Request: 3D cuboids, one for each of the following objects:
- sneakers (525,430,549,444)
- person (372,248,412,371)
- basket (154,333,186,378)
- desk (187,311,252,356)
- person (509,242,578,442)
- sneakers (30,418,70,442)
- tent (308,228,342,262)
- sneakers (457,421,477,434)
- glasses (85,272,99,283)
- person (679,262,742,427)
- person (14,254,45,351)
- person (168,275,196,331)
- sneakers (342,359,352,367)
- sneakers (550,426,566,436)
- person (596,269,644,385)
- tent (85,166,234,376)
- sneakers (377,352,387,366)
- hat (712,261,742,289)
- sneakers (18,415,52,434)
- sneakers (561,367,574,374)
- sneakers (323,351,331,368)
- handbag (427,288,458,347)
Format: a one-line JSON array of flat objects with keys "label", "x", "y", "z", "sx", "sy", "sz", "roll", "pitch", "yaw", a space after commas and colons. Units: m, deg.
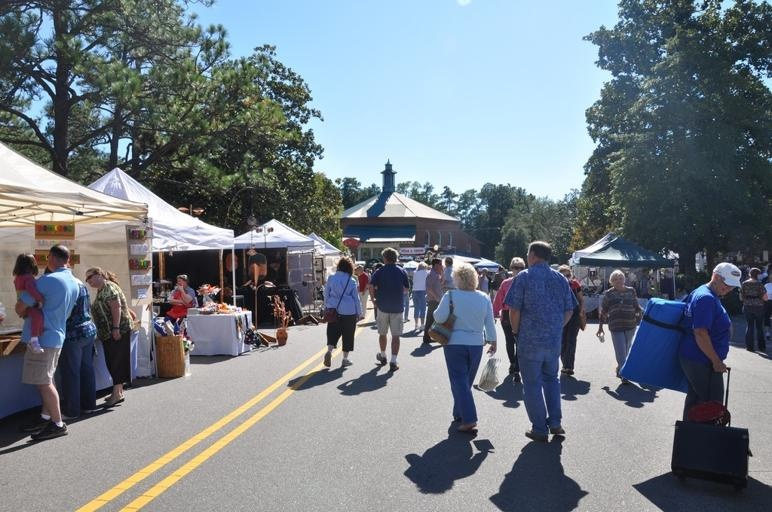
[{"label": "sneakers", "x": 2.229, "y": 2.651, "z": 9.415, "sx": 0.331, "sy": 0.162, "sz": 0.144, "roll": 9, "pitch": 6, "yaw": 41}, {"label": "person", "x": 0.057, "y": 1.141, "z": 14.238, "sx": 0.776, "sy": 2.580, "sz": 1.547, "roll": 0, "pitch": 4, "yaw": 2}, {"label": "basket", "x": -4.516, "y": 2.101, "z": 13.099, "sx": 0.660, "sy": 1.035, "sz": 1.003, "roll": -1, "pitch": -1, "yaw": -8}, {"label": "desk", "x": -4.489, "y": 2.070, "z": 16.143, "sx": 1.323, "sy": 0.999, "sz": 1.808, "roll": -1, "pitch": -11, "yaw": -15}, {"label": "person", "x": 2.270, "y": 1.264, "z": 9.478, "sx": 0.995, "sy": 2.889, "sz": 0.484, "roll": -1, "pitch": 4, "yaw": -19}, {"label": "sneakers", "x": -5.124, "y": 2.674, "z": 9.734, "sx": 0.558, "sy": 0.290, "sz": 0.214, "roll": 3, "pitch": -4, "yaw": -33}, {"label": "tent", "x": -2.952, "y": -0.341, "z": 30.965, "sx": 1.661, "sy": 0.918, "sz": 1.746, "roll": 0, "pitch": -3, "yaw": -5}, {"label": "sneakers", "x": 1.235, "y": 2.613, "z": 9.714, "sx": 0.269, "sy": 0.127, "sz": 0.158, "roll": 7, "pitch": -4, "yaw": 8}, {"label": "glasses", "x": -5.189, "y": 0.392, "z": 11.269, "sx": 0.167, "sy": 0.187, "sz": 0.058, "roll": -18, "pitch": -9, "yaw": 18}, {"label": "person", "x": 4.431, "y": 1.459, "z": 8.932, "sx": 0.767, "sy": 2.668, "sz": 0.840, "roll": -2, "pitch": 6, "yaw": -9}, {"label": "person", "x": -5.491, "y": 0.720, "z": 9.822, "sx": 0.350, "sy": 1.468, "sz": 0.514, "roll": -3, "pitch": 5, "yaw": -35}, {"label": "person", "x": -4.995, "y": 1.088, "z": 15.557, "sx": 0.708, "sy": 1.199, "sz": 1.369, "roll": -1, "pitch": 4, "yaw": -19}, {"label": "sneakers", "x": -0.831, "y": 2.337, "z": 14.007, "sx": 0.103, "sy": 0.195, "sz": 0.272, "roll": 3, "pitch": 15, "yaw": 20}, {"label": "sneakers", "x": 2.554, "y": 2.617, "z": 9.539, "sx": 0.193, "sy": 0.117, "sz": 0.085, "roll": 3, "pitch": -9, "yaw": 19}, {"label": "person", "x": 4.770, "y": 1.410, "z": 13.039, "sx": 0.777, "sy": 2.175, "sz": 0.531, "roll": 1, "pitch": 4, "yaw": 17}, {"label": "tent", "x": -6.108, "y": -0.253, "z": 17.930, "sx": 3.935, "sy": 4.067, "sz": 4.071, "roll": -2, "pitch": 7, "yaw": -19}, {"label": "sneakers", "x": -0.107, "y": 2.280, "z": 14.173, "sx": 0.253, "sy": 0.263, "sz": 0.404, "roll": 0, "pitch": 4, "yaw": 3}, {"label": "hat", "x": 4.609, "y": 0.252, "z": 8.737, "sx": 0.286, "sy": 0.236, "sz": 0.409, "roll": 6, "pitch": 18, "yaw": -16}, {"label": "sneakers", "x": -5.418, "y": 2.622, "z": 9.913, "sx": 0.623, "sy": 0.275, "sz": 0.254, "roll": -3, "pitch": 0, "yaw": 3}, {"label": "sneakers", "x": 3.771, "y": 2.384, "z": 13.263, "sx": 0.195, "sy": 0.094, "sz": 0.123, "roll": -1, "pitch": 1, "yaw": 25}, {"label": "sneakers", "x": -1.250, "y": 2.191, "z": 13.497, "sx": 0.144, "sy": 0.345, "sz": 0.140, "roll": 4, "pitch": 9, "yaw": 11}, {"label": "handbag", "x": 0.826, "y": 0.967, "z": 9.672, "sx": 0.465, "sy": 0.791, "sz": 0.288, "roll": -1, "pitch": 4, "yaw": -17}]
